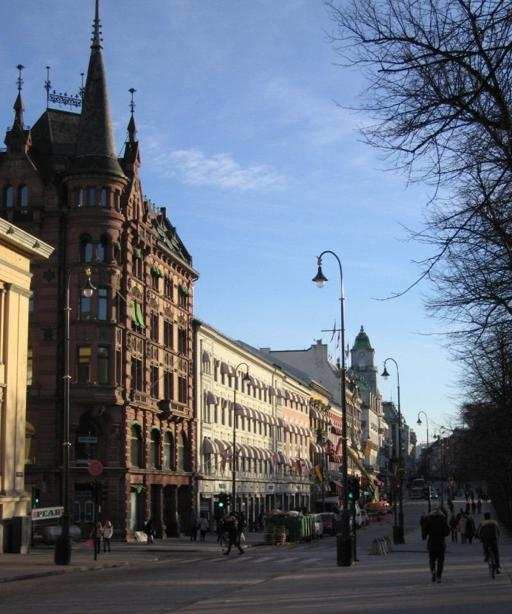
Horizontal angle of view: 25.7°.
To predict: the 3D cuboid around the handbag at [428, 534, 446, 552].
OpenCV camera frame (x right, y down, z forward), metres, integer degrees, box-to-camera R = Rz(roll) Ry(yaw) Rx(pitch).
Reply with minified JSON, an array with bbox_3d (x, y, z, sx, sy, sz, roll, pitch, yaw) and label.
[{"bbox_3d":[4.232,5.604,26.598,0.545,0.548,0.316,1,-17,0],"label":"handbag"}]
